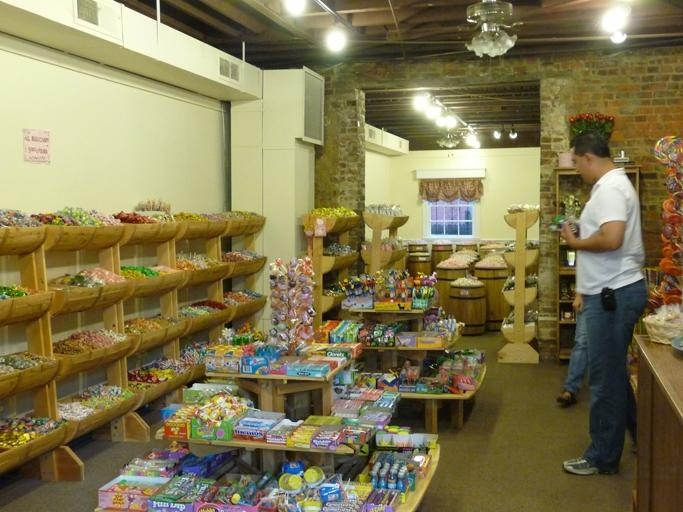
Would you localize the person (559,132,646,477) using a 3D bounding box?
[{"bbox_3d":[1.997,0.317,3.868,0.731,2.456,0.862,-1,-3,31],"label":"person"}]

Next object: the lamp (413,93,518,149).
[{"bbox_3d":[2.558,-3.069,11.706,1.300,1.066,3.575,3,5,13],"label":"lamp"}]
